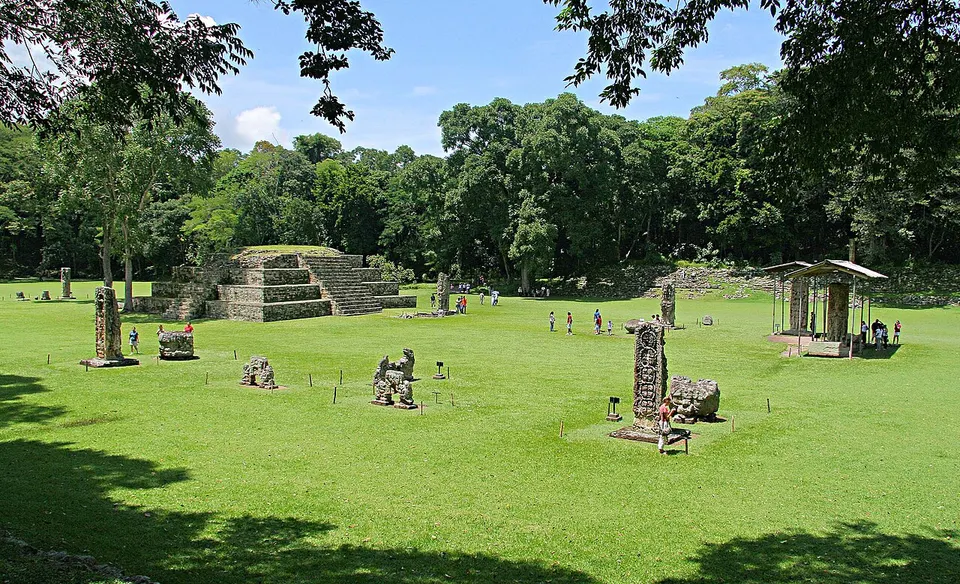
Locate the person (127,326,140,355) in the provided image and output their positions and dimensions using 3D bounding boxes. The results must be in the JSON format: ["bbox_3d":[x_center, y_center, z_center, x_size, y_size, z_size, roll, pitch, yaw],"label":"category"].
[{"bbox_3d":[-16.029,2.241,42.659,0.340,1.197,1.675,1,-2,-21],"label":"person"}]

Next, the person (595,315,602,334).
[{"bbox_3d":[6.681,1.821,51.696,0.373,0.949,0.945,1,-1,11],"label":"person"}]

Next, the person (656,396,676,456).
[{"bbox_3d":[6.343,4.569,31.691,0.413,1.885,0.801,1,-1,8],"label":"person"}]
